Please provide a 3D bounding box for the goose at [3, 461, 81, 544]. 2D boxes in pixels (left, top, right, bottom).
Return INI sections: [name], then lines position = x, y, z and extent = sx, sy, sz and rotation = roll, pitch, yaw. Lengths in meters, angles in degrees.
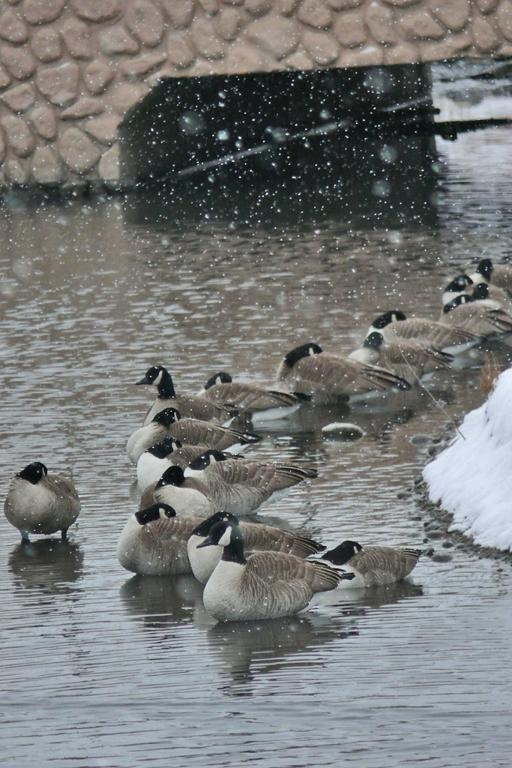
[goose]
position = -1.322, 0.733, 7.654
extent = 0.365, 0.423, 0.584
rotation = -1, 0, -4
